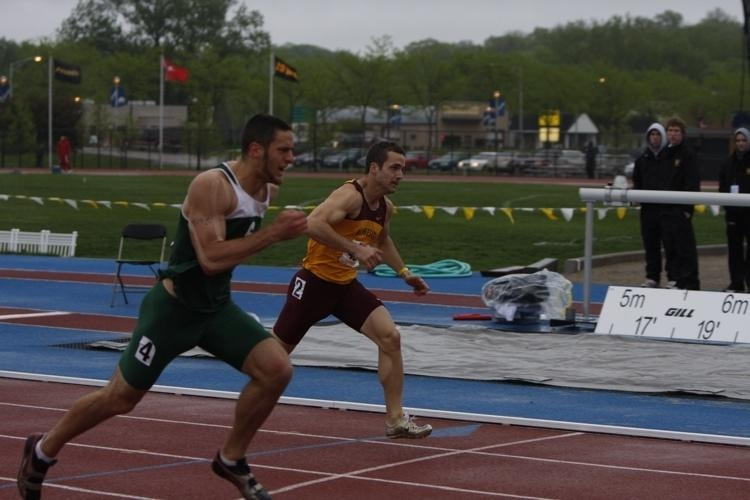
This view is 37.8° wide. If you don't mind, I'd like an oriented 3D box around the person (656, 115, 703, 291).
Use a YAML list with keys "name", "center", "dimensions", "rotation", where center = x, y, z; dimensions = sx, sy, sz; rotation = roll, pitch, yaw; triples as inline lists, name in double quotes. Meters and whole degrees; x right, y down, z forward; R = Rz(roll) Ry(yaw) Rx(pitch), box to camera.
- name: "person"
  center: [4.295, -0.675, 15.271]
  dimensions: [0.484, 2.324, 1.170]
  rotation: [1, 10, 15]

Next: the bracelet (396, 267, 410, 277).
- name: "bracelet"
  center: [0.278, 0.211, 10.744]
  dimensions: [0.245, 0.073, 0.209]
  rotation: [-3, -3, 2]
